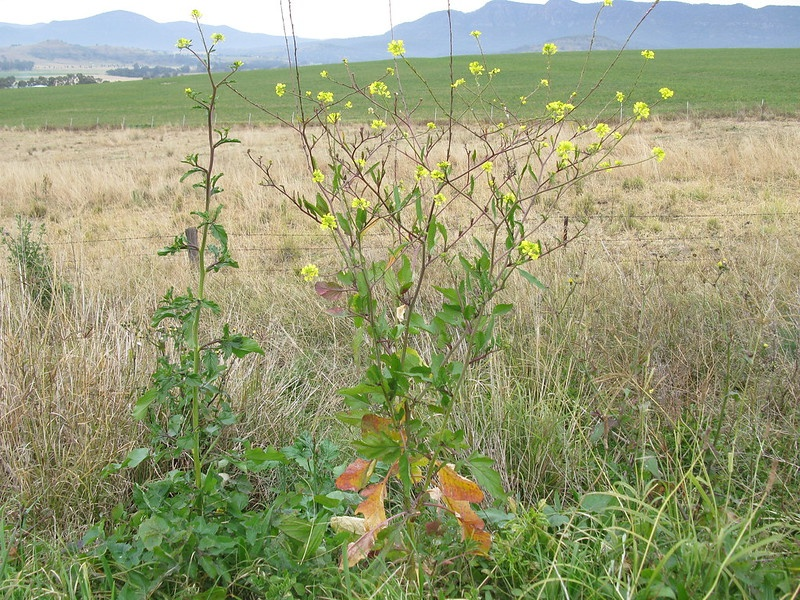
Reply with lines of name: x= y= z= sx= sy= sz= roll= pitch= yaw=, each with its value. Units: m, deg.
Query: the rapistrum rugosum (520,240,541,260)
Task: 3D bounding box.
rapistrum rugosum: x=0.767 y=-0.294 z=4.633 sx=0.102 sy=0.129 sz=0.072 roll=2 pitch=-18 yaw=7
